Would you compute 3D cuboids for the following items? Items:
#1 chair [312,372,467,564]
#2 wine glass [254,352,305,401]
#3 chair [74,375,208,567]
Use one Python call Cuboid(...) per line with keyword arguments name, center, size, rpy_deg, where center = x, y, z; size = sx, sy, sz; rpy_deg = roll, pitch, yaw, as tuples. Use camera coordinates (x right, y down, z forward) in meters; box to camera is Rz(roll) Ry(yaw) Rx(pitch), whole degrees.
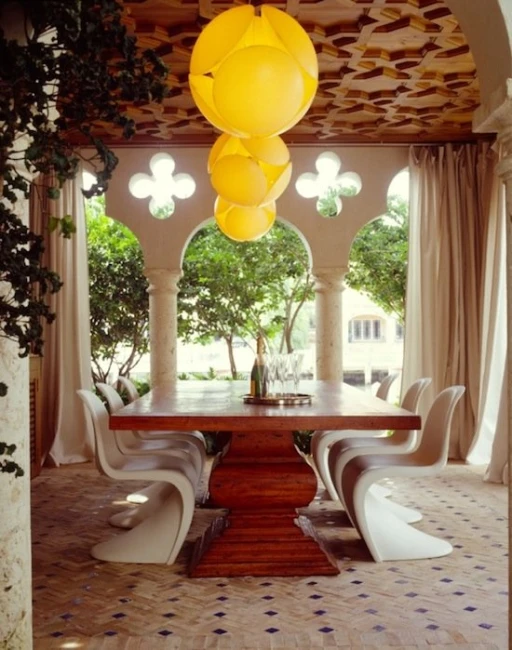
Cuboid(name="chair", center=(0.598, 0.835, 3.260), size=(0.963, 1.149, 0.753), rpy_deg=(3, -1, 0))
Cuboid(name="wine glass", center=(0.115, 0.301, 2.951), size=(0.311, 0.262, 0.281), rpy_deg=(0, -9, 1))
Cuboid(name="chair", center=(-0.557, 0.739, 3.198), size=(0.917, 1.048, 1.031), rpy_deg=(1, -3, -5))
